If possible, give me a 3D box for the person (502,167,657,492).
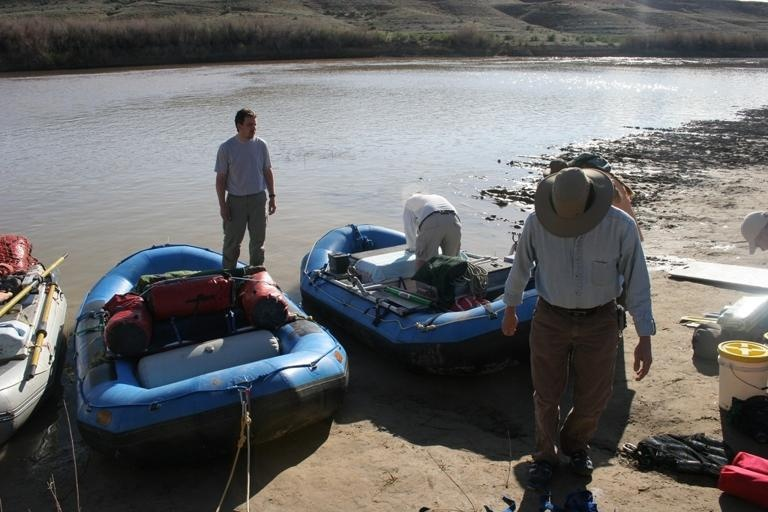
[{"bbox_3d":[1.743,0.659,5.667,1.298,2.873,0.778,2,21,9],"label":"person"}]

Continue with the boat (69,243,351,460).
[{"bbox_3d":[-1.924,1.104,6.957,2.945,1.355,1.775,-4,20,-10],"label":"boat"}]

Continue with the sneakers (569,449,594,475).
[{"bbox_3d":[1.866,1.937,5.909,0.150,0.168,0.284,-6,5,-3],"label":"sneakers"}]
